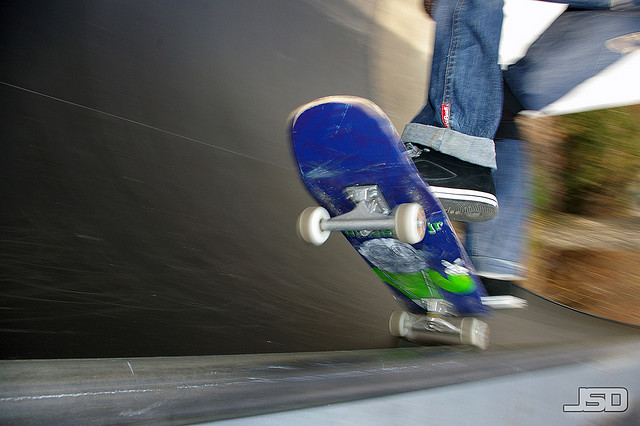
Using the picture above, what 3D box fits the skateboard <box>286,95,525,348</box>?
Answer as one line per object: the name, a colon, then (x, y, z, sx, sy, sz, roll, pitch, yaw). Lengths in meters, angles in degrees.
skateboard: (0.272, 0.111, 1.547, 0.596, 0.245, 1.189, -16, -44, 38)
